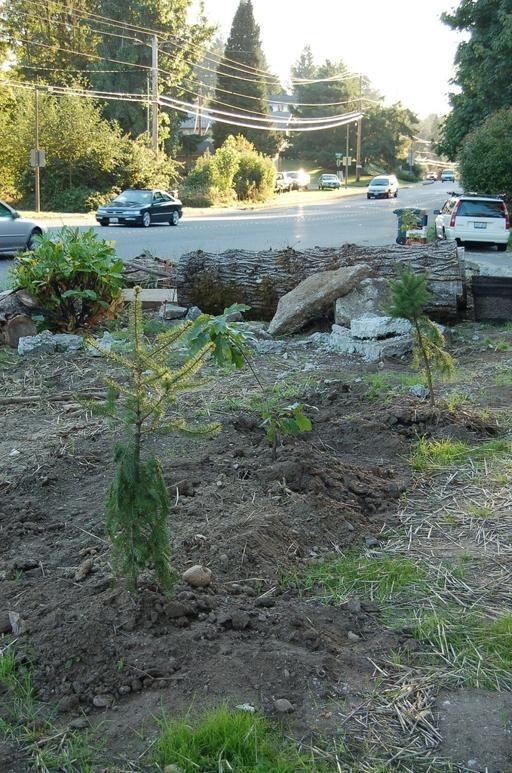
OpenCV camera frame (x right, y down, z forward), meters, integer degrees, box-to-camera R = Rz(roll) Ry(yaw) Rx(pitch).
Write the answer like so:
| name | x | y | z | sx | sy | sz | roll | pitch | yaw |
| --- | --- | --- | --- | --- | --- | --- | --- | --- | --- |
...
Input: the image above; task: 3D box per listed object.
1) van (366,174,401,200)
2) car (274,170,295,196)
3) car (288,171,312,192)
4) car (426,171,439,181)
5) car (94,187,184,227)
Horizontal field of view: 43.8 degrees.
| name | x | y | z | sx | sy | sz | roll | pitch | yaw |
| --- | --- | --- | --- | --- | --- | --- | --- | --- | --- |
| van | 9.515 | -14.709 | 46.981 | 1.687 | 1.432 | 3.230 | 3 | 20 | 19 |
| car | 2.175 | -16.576 | 51.958 | 1.030 | 1.925 | 3.503 | 0 | 4 | 8 |
| car | 4.060 | -18.971 | 59.274 | 1.834 | 1.405 | 4.026 | 0 | 27 | 8 |
| car | 24.473 | -28.984 | 88.248 | 1.499 | 1.295 | 2.800 | 2 | 20 | 16 |
| car | -4.398 | -7.016 | 25.134 | 1.801 | 1.037 | 2.877 | 9 | 16 | 28 |
